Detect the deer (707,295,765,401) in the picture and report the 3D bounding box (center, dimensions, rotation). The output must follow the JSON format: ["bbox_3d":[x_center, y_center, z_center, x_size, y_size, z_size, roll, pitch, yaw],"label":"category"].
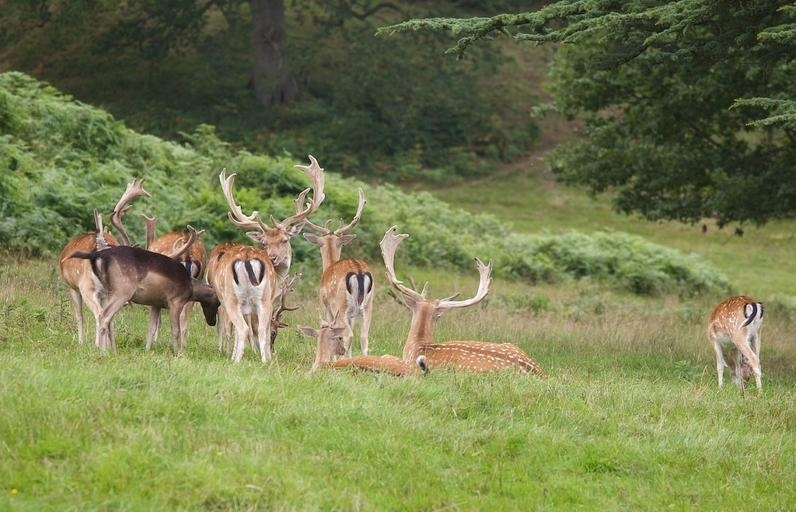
[{"bbox_3d":[7.579,1.931,29.418,1.312,2.128,0.867,3,1,33],"label":"deer"}]

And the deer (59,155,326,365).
[{"bbox_3d":[-4.731,0.116,30.853,6.006,5.045,3.721,-3,9,-10],"label":"deer"}]

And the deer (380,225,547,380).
[{"bbox_3d":[1.271,0.961,29.011,3.561,2.954,1.729,3,1,8],"label":"deer"}]

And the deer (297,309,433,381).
[{"bbox_3d":[-0.867,1.998,28.398,2.626,0.984,1.510,3,1,-2],"label":"deer"}]

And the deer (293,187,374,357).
[{"bbox_3d":[-2.272,0.496,30.858,1.510,4.376,3.983,1,7,-17],"label":"deer"}]
